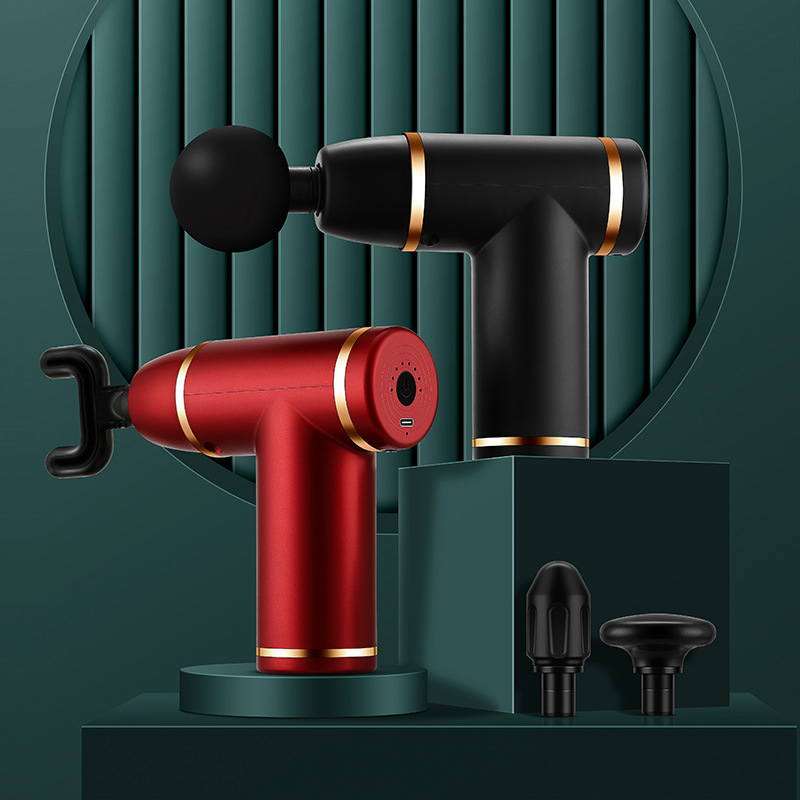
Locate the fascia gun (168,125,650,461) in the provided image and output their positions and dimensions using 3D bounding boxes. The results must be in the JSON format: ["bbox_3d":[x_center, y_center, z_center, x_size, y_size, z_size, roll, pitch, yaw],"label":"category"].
[{"bbox_3d":[0.019,-0.060,0.984,0.326,0.277,0.069,0,-5,-10],"label":"fascia gun"}]

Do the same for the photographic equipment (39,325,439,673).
[{"bbox_3d":[-0.142,0.051,0.939,0.375,0.322,0.129,-1,-6,25],"label":"photographic equipment"}]

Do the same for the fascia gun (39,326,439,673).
[{"bbox_3d":[-0.083,0.072,0.944,0.236,0.235,0.128,-7,-26,15],"label":"fascia gun"}]

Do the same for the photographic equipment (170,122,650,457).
[{"bbox_3d":[0.018,-0.067,1.002,0.339,0.286,0.074,-1,9,-10],"label":"photographic equipment"}]
